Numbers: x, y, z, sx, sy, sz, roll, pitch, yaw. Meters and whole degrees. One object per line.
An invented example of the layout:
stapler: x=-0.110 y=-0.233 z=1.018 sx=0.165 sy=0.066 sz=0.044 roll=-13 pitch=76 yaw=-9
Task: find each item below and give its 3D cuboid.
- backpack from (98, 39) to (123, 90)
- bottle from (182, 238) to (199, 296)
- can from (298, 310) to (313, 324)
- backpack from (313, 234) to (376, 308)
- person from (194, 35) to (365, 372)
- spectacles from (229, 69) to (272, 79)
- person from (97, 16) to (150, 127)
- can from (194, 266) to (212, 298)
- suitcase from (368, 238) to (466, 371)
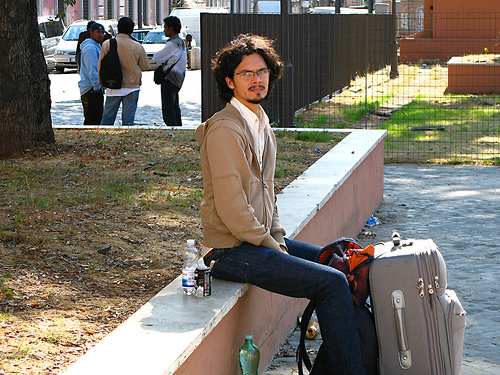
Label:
backpack: x=-2.349 y=-2.081 z=13.378 sx=0.384 sy=0.836 sz=0.213 roll=-2 pitch=10 yaw=-12
bottle: x=-0.456 y=0.598 z=6.058 sx=0.128 sy=0.358 sz=0.370 roll=-1 pitch=10 yaw=-5
can: x=0.505 y=1.236 z=7.617 sx=0.166 sy=0.062 sz=0.168 roll=1 pitch=2 yaw=0
backpack: x=0.800 y=0.662 z=6.341 sx=0.415 sy=0.557 sz=0.551 roll=-5 pitch=36 yaw=-18
person: x=0.167 y=0.076 z=6.142 sx=1.193 sy=2.445 sz=0.862 roll=1 pitch=9 yaw=6
spectacles: x=-0.006 y=-0.902 z=6.291 sx=0.298 sy=0.071 sz=0.077 roll=-2 pitch=10 yaw=-9
person: x=-2.223 y=-1.882 z=13.849 sx=0.725 sy=2.231 sz=0.936 roll=25 pitch=30 yaw=36
can: x=-0.352 y=0.695 z=5.892 sx=0.128 sy=0.229 sz=0.128 roll=2 pitch=13 yaw=-1
suitcase: x=1.407 y=0.902 z=6.708 sx=0.769 sy=1.486 sz=0.978 roll=-5 pitch=4 yaw=7
